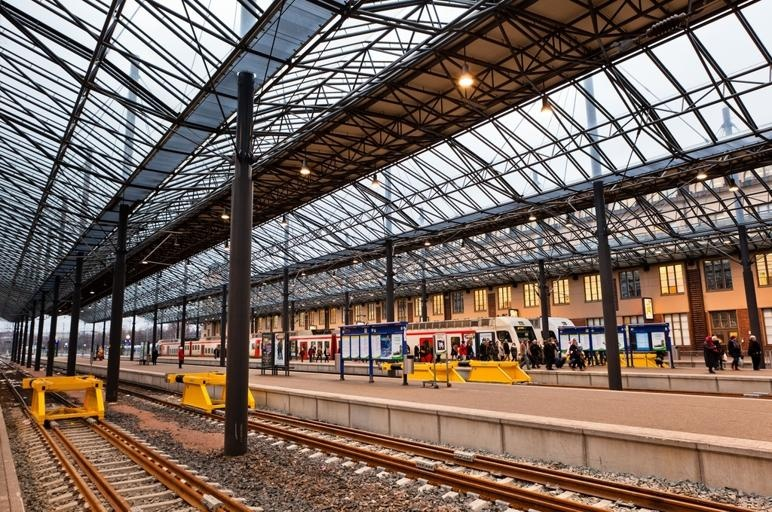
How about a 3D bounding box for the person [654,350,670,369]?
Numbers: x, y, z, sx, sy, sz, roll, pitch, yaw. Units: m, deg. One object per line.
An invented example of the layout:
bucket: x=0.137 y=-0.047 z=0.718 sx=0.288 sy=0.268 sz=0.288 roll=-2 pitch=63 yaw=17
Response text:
person: x=19.379 y=7.459 z=38.495 sx=1.043 sy=1.140 sz=3.325 roll=-6 pitch=-16 yaw=14
